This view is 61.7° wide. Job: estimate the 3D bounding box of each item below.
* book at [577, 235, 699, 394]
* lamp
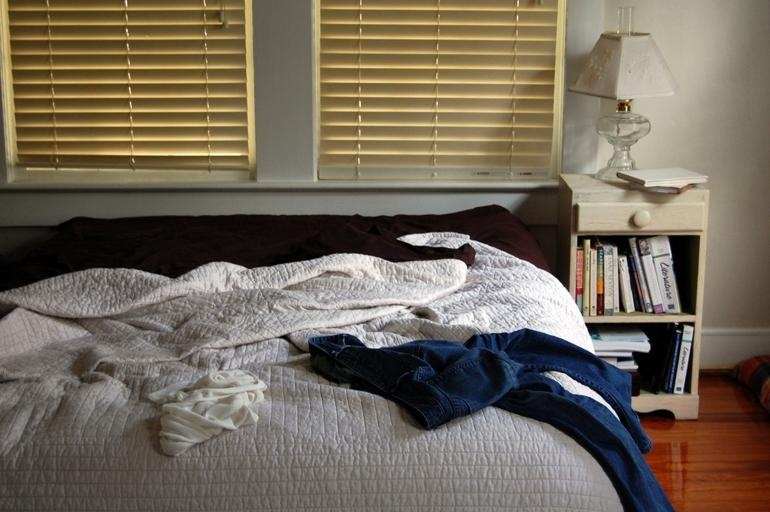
[{"bbox_3d":[1.088,0.217,2.784,0.530,0.676,0.192,-4,12,7],"label":"book"},{"bbox_3d":[1.081,-0.728,2.888,0.339,0.738,0.374,-12,23,-35],"label":"lamp"}]
